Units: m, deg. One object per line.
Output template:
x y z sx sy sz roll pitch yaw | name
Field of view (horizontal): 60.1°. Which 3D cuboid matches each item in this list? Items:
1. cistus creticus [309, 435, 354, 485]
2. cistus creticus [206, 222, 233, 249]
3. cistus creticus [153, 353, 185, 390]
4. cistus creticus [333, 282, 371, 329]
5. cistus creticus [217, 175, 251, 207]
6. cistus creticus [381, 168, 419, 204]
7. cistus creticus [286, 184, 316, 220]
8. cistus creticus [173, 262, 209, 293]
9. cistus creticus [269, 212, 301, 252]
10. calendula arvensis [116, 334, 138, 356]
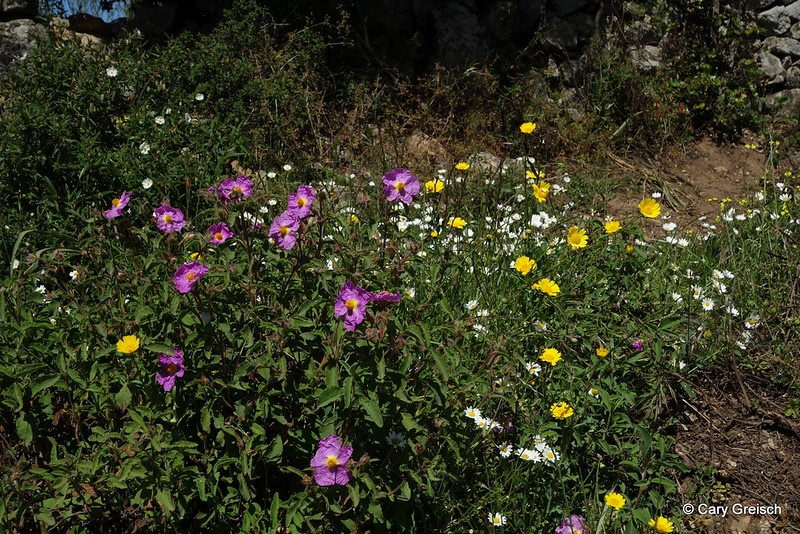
-0.334 1.004 3.705 0.221 0.295 0.248 -3 100 -1 | cistus creticus
-1.051 -0.181 4.052 0.134 0.063 0.172 -2 89 -19 | cistus creticus
-1.252 0.545 3.727 0.079 0.181 0.225 8 107 9 | cistus creticus
-0.258 0.194 3.683 0.219 0.081 0.213 7 22 23 | cistus creticus
-0.983 -0.457 4.128 0.155 0.085 0.181 4 52 3 | cistus creticus
-0.003 -0.501 4.114 0.172 0.200 0.085 4 57 -18 | cistus creticus
-0.567 -0.365 4.012 0.145 0.090 0.195 15 96 19 | cistus creticus
-1.142 0.038 3.787 0.154 0.066 0.176 28 99 9 | cistus creticus
-0.645 -0.202 3.910 0.164 0.080 0.206 19 88 -17 | cistus creticus
-1.484 0.428 3.776 0.090 0.046 0.113 1 52 2 | calendula arvensis
